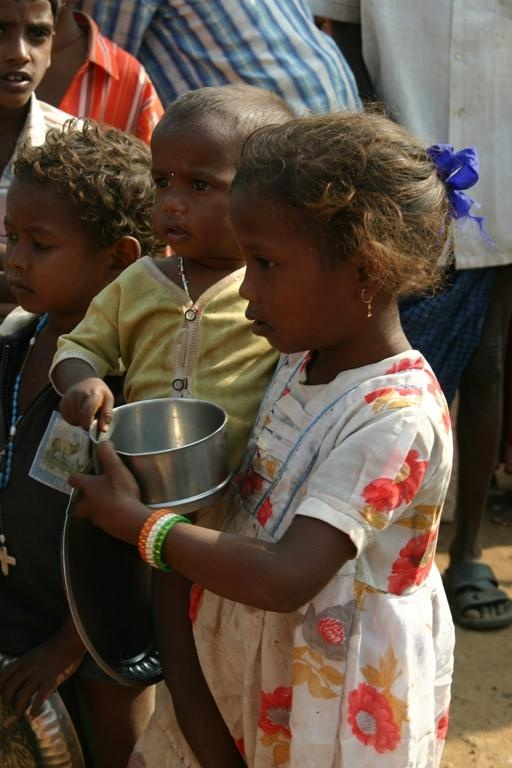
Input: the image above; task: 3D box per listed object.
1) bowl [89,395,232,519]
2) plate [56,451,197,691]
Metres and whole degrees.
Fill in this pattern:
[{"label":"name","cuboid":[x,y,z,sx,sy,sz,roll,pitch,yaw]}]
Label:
[{"label":"bowl","cuboid":[-0.189,0.116,1.359,0.221,0.162,0.296,-5,18,-33]},{"label":"plate","cuboid":[-0.320,0.385,1.569,0.104,0.440,0.440,0,-10,29]}]
